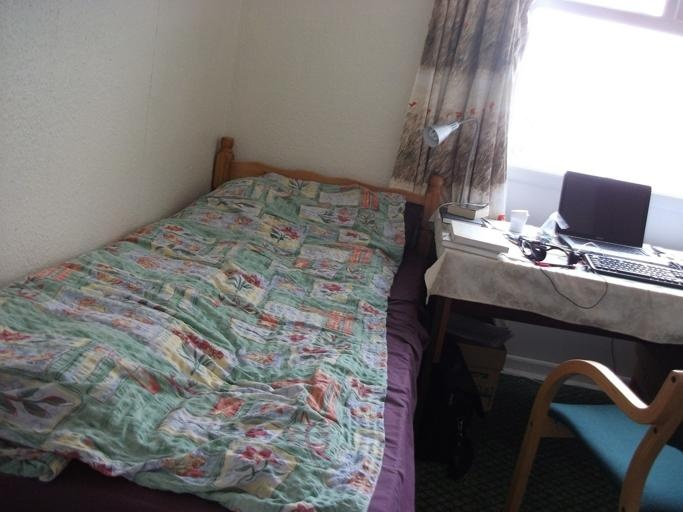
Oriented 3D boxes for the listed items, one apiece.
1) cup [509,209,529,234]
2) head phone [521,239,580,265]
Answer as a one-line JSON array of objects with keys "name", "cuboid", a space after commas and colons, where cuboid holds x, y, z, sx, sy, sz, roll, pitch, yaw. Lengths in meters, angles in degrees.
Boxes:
[{"name": "cup", "cuboid": [0.841, -0.169, 2.502, 0.084, 0.110, 0.128, 7, 12, 32]}, {"name": "head phone", "cuboid": [0.817, -0.014, 2.029, 0.148, 0.049, 0.144, 22, 12, 20]}]
